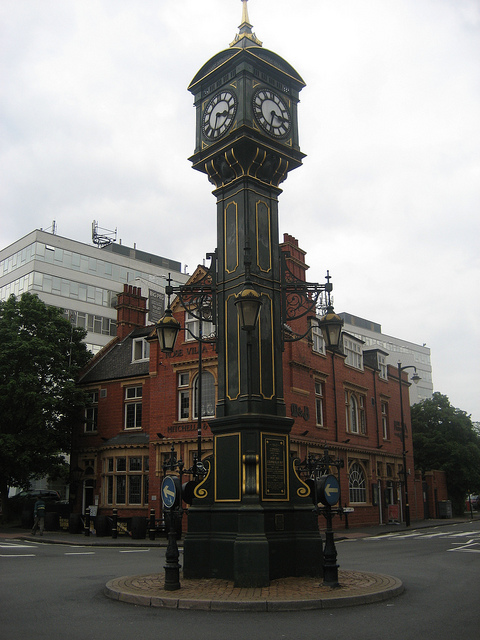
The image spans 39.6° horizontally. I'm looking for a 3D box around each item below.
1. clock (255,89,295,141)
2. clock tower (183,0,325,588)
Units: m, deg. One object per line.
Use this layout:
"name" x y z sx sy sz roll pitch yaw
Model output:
"clock" 0.655 -4.112 13.378 0.085 1.223 1.287 -21 -28 39
"clock tower" 0.151 -0.541 12.483 2.202 10.163 1.349 0 -16 -5
